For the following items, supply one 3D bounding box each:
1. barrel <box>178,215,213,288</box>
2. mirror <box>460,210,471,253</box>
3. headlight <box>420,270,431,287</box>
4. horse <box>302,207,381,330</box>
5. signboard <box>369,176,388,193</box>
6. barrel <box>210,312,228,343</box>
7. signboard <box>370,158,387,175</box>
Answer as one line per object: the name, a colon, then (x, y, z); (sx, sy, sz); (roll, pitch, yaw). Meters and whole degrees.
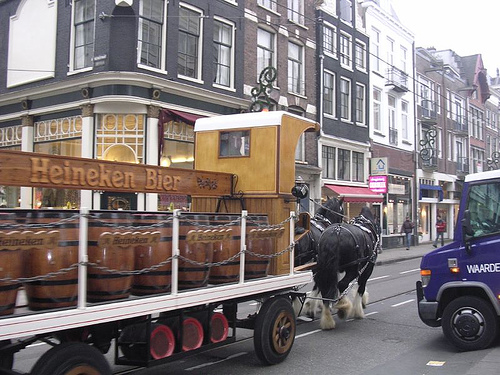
barrel: (-0.727, 0.850, 6.453); (0.233, 0.959, 0.643); (-2, -3, 39)
mirror: (3.611, 0.740, 8.004); (0.144, 0.705, 0.401); (-1, -2, 24)
headlight: (3.085, 1.589, 8.445); (0.075, 0.300, 0.207); (1, -2, -21)
horse: (2.390, 1.735, 11.322); (1.031, 2.611, 3.764); (5, 0, 28)
signboard: (6.940, -0.210, 25.921); (0.280, 0.810, 0.839); (10, -12, -41)
barrel: (-0.457, 1.993, 6.821); (0.143, 0.411, 0.404); (-11, -21, 30)
signboard: (7.722, -1.264, 28.929); (0.865, 1.208, 1.212); (0, -1, 4)
